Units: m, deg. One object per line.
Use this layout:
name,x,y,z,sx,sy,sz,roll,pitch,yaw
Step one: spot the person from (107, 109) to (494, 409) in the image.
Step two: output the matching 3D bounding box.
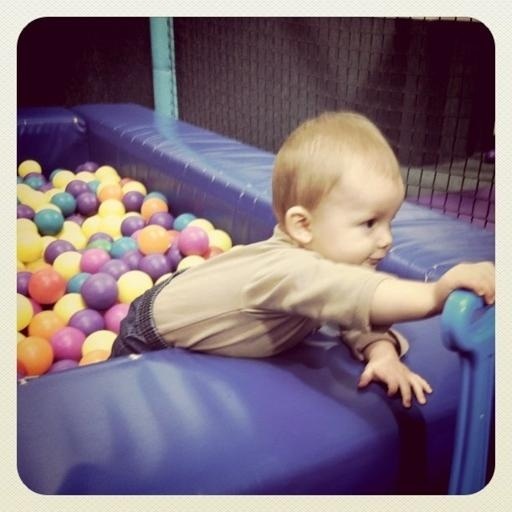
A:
person,0.063,-0.110,1.035,0.836,0.666,0.333,13,32,26
